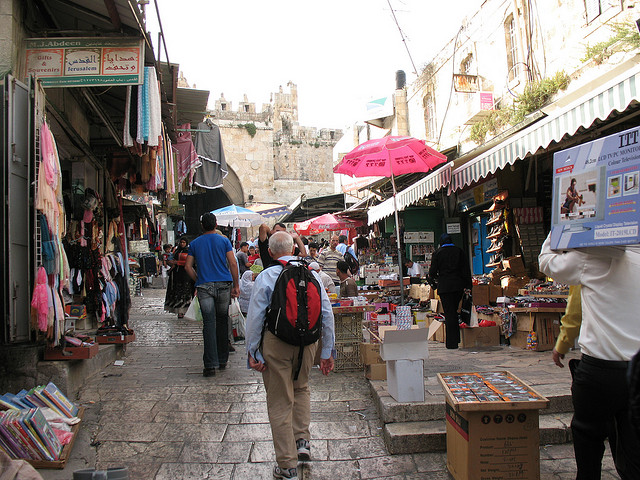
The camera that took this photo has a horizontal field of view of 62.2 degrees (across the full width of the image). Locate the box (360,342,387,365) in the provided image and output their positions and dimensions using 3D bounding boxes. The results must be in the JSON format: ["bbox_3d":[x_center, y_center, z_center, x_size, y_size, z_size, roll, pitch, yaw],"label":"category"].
[{"bbox_3d":[0.625,1.407,6.686,0.304,0.217,0.319,0,0,-8],"label":"box"}]

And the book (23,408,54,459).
[{"bbox_3d":[-2.636,1.733,4.813,0.078,0.352,0.341,-33,52,-12],"label":"book"}]

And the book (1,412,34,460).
[{"bbox_3d":[-2.762,1.783,4.818,0.076,0.341,0.325,-31,13,-10],"label":"book"}]

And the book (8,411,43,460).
[{"bbox_3d":[-2.605,1.761,4.811,0.082,0.331,0.325,-34,40,-2],"label":"book"}]

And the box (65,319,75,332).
[{"bbox_3d":[-2.984,1.013,6.344,0.095,0.137,0.098,2,1,-32],"label":"box"}]

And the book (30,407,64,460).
[{"bbox_3d":[-2.532,1.803,4.915,0.245,0.267,0.246,-28,26,-13],"label":"book"}]

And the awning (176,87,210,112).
[{"bbox_3d":[-2.540,-2.776,10.534,0.597,0.316,1.221,-3,8,-15],"label":"awning"}]

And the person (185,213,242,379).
[{"bbox_3d":[-1.480,0.767,7.417,0.713,2.214,1.150,-2,7,-12],"label":"person"}]

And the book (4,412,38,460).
[{"bbox_3d":[-2.723,1.788,4.815,0.076,0.334,0.319,-38,12,-20],"label":"book"}]

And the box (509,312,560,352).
[{"bbox_3d":[3.280,1.308,8.098,0.468,0.624,0.874,-1,-7,-5],"label":"box"}]

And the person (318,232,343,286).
[{"bbox_3d":[0.215,0.698,10.350,0.501,1.601,0.399,2,-14,-6],"label":"person"}]

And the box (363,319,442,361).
[{"bbox_3d":[0.945,1.191,6.315,0.716,0.354,0.692,-2,-7,6],"label":"box"}]

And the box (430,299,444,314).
[{"bbox_3d":[2.191,1.226,10.048,0.239,0.260,0.177,5,10,44],"label":"box"}]

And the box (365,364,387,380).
[{"bbox_3d":[0.695,1.611,6.592,0.220,0.158,0.237,1,-3,-15],"label":"box"}]

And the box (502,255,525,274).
[{"bbox_3d":[3.535,0.441,9.834,0.266,0.316,0.288,-4,1,7],"label":"box"}]

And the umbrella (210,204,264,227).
[{"bbox_3d":[-2.323,-0.687,15.123,0.986,0.529,1.035,4,-7,-32],"label":"umbrella"}]

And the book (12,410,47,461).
[{"bbox_3d":[-2.629,1.803,4.801,0.283,0.367,0.064,1,7,13],"label":"book"}]

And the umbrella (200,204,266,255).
[{"bbox_3d":[-2.212,-0.334,14.214,1.905,1.516,2.000,-1,-5,5],"label":"umbrella"}]

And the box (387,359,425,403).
[{"bbox_3d":[0.891,1.475,5.712,0.300,0.420,0.573,0,-9,-8],"label":"box"}]

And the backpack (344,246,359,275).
[{"bbox_3d":[0.729,0.493,12.303,0.312,0.466,0.457,-2,-4,-7],"label":"backpack"}]

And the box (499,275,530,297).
[{"bbox_3d":[3.485,0.828,9.615,0.508,0.344,0.487,3,8,28],"label":"box"}]

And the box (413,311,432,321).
[{"bbox_3d":[1.897,1.426,10.046,0.259,0.199,0.149,1,-9,-10],"label":"box"}]

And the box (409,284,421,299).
[{"bbox_3d":[2.056,1.109,11.622,0.211,0.301,0.286,3,-4,-9],"label":"box"}]
